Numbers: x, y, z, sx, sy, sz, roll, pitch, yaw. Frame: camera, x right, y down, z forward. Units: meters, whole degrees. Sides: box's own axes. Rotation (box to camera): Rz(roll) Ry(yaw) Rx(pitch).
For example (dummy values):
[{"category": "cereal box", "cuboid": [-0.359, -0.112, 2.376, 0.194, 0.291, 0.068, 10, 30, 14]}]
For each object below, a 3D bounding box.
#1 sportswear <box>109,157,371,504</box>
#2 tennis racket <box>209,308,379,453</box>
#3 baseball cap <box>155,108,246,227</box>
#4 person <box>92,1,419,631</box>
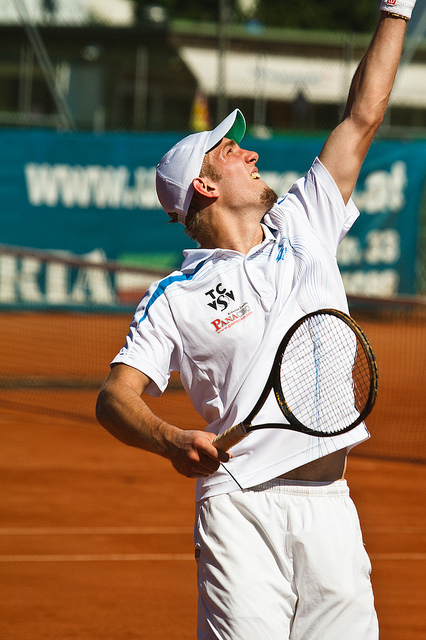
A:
[{"category": "sportswear", "cuboid": [0.163, 0.088, 2.696, 0.682, 1.148, 0.899, -7, 12, -40]}, {"category": "tennis racket", "cuboid": [0.281, 0.167, 2.406, 0.415, 0.399, 0.249, -3, 7, -34]}, {"category": "baseball cap", "cuboid": [-0.067, -0.524, 2.870, 0.242, 0.407, 0.279, 24, 15, 0]}, {"category": "person", "cuboid": [0.117, -0.033, 2.488, 0.801, 1.782, 0.932, 3, 10, 8]}]
